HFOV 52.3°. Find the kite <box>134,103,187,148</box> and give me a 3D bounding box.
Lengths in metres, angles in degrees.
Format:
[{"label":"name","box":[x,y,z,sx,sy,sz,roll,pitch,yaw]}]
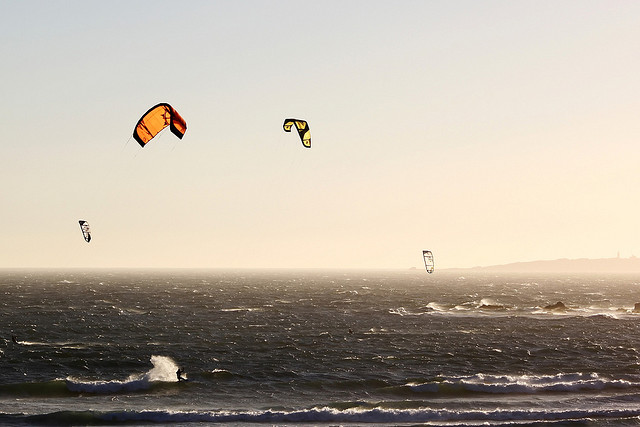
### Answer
[{"label":"kite","box":[-9.130,-5.007,37.180,2.604,2.396,1.115,-1,-6,-13]}]
